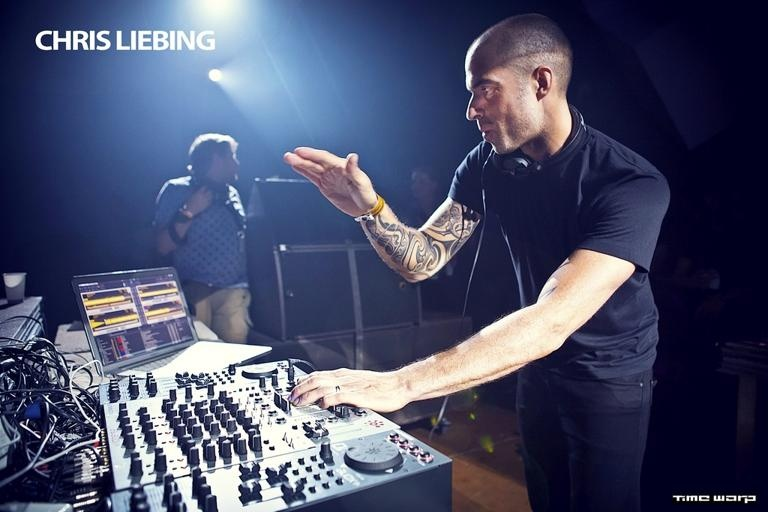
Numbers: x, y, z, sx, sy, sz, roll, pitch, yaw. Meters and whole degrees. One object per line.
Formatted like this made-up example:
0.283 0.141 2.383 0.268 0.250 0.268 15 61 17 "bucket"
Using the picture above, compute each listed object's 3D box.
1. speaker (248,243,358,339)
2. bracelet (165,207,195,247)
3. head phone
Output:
-0.654 0.270 4.552 0.793 0.636 0.793 -1 -4 -15 "speaker"
-1.596 -0.238 4.579 0.177 0.261 0.100 0 4 -43 "bracelet"
0.765 -0.592 3.105 0.451 0.169 0.380 -30 -36 4 "head phone"
